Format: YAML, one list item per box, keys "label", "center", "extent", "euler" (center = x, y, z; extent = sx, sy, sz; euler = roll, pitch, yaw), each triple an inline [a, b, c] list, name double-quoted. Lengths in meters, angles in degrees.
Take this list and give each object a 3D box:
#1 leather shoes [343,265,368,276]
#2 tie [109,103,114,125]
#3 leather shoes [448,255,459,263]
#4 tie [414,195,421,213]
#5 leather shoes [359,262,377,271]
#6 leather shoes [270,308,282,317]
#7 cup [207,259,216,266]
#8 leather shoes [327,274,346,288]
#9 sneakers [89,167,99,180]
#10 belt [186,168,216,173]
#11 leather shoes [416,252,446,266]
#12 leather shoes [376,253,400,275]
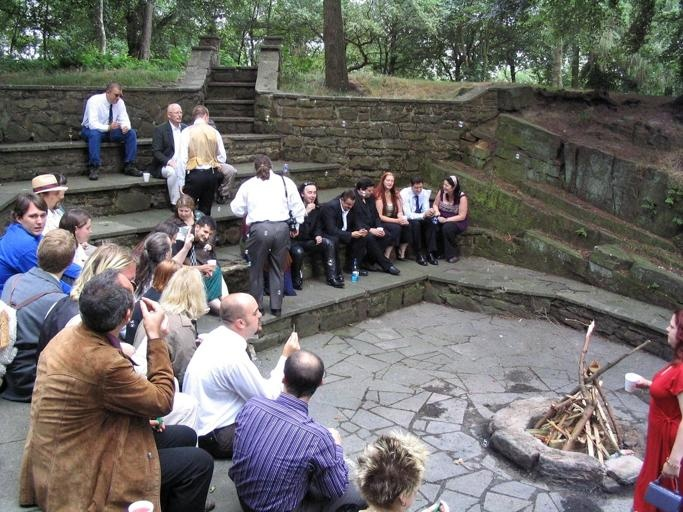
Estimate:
- label: "leather shoes"
  center: [0.229, 0.240, 8.764]
  extent: [0.429, 0.181, 0.173]
  euler: [8, 16, 40]
- label: "tie"
  center: [-3.982, -2.435, 8.646]
  extent: [0.102, 0.310, 0.048]
  euler: [-8, 17, -28]
- label: "leather shoes"
  center: [2.180, 0.085, 9.826]
  extent: [0.084, 0.094, 0.235]
  euler: [8, 8, 38]
- label: "tie"
  center: [1.462, -0.986, 9.637]
  extent: [0.110, 0.314, 0.072]
  euler: [-3, 15, -13]
- label: "leather shoes"
  center: [0.477, 0.198, 9.024]
  extent: [0.331, 0.150, 0.114]
  euler: [-3, 9, 1]
- label: "leather shoes"
  center: [-0.901, 0.777, 6.932]
  extent: [0.134, 0.112, 0.087]
  euler: [-6, 16, -22]
- label: "cup"
  center: [-1.516, 0.079, 5.840]
  extent: [0.087, 0.069, 0.091]
  euler: [-4, -17, -1]
- label: "leather shoes"
  center: [-0.091, 0.401, 8.138]
  extent: [0.159, 0.143, 0.304]
  euler: [-16, 22, -35]
- label: "sneakers"
  center: [-4.176, -1.359, 8.475]
  extent: [0.117, 0.141, 0.317]
  euler: [-5, 6, -23]
- label: "belt"
  center: [-2.189, -1.317, 7.803]
  extent: [0.445, 0.087, 0.119]
  euler: [-4, 16, -17]
- label: "leather shoes"
  center: [1.637, 0.066, 9.516]
  extent: [0.227, 0.139, 0.346]
  euler: [-7, 9, -32]
- label: "leather shoes"
  center: [0.820, 0.201, 8.921]
  extent: [0.559, 0.210, 0.229]
  euler: [34, -8, 20]
